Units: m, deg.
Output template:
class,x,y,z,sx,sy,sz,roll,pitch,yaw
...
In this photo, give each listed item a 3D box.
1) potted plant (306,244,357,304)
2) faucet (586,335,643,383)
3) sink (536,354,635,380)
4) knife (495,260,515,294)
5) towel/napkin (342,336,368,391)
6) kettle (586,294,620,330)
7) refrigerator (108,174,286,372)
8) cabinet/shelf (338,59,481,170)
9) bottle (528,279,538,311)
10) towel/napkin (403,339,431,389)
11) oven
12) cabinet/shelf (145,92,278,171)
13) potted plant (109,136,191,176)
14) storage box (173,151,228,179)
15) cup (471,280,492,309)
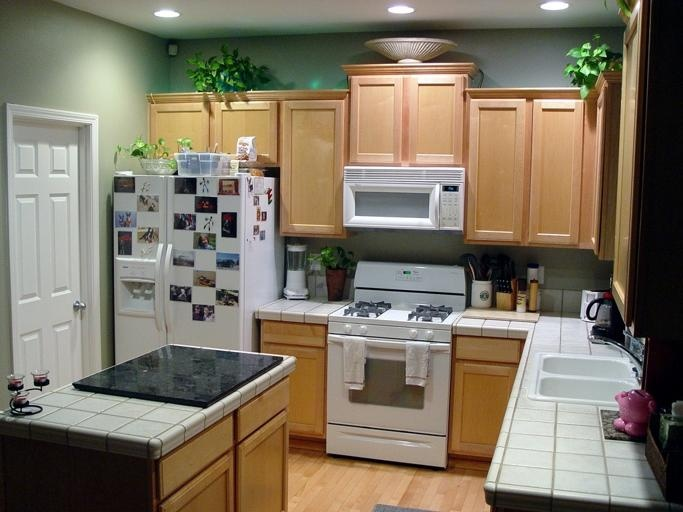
class,x,y,z,sx,sy,sz,roll,pitch,yaw
potted plant,-0.072,0.137,4.497,0.399,0.438,0.269,0,7,1
faucet,1.508,0.572,3.024,0.166,0.125,0.367,-7,6,-44
sink,1.288,0.583,2.888,0.301,0.085,0.218,2,5,13
knife,1.275,0.145,4.161,0.197,0.247,0.164,-2,7,-9
towel/napkin,0.091,0.752,3.852,0.178,0.360,0.087,0,7,4
kettle,1.685,0.359,3.504,0.120,0.228,0.212,15,-13,-40
refrigerator,-1.140,0.373,4.215,1.047,1.879,0.866,-8,-28,0
cabinet/shelf,0.518,-1.028,3.988,0.812,0.651,0.300,1,3,14
bottle,1.469,0.293,4.158,0.079,0.231,0.181,2,7,20
towel/napkin,0.523,0.734,3.743,0.165,0.286,0.062,1,7,8
oven,0.429,1.037,4.121,0.923,1.032,0.694,0,-8,25
cabinet/shelf,-0.981,-0.985,4.279,0.695,0.445,0.206,1,1,14
potted plant,-1.431,-0.771,4.215,0.524,0.236,0.430,-1,4,1
storage box,-1.020,-0.674,3.999,0.267,0.125,0.213,2,6,20
cup,1.071,0.284,4.168,0.186,0.221,0.190,-1,4,0
